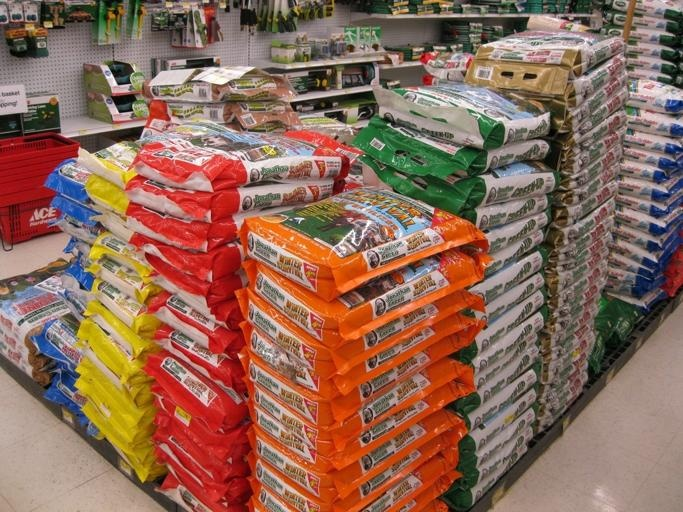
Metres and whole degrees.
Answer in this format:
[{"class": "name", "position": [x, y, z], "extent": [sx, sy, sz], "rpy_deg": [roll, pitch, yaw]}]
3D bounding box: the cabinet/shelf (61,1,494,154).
[{"class": "cabinet/shelf", "position": [-0.687, -1.421, 3.946], "extent": [3.377, 0.999, 0.458], "rpy_deg": [-12, 24, -32]}]
